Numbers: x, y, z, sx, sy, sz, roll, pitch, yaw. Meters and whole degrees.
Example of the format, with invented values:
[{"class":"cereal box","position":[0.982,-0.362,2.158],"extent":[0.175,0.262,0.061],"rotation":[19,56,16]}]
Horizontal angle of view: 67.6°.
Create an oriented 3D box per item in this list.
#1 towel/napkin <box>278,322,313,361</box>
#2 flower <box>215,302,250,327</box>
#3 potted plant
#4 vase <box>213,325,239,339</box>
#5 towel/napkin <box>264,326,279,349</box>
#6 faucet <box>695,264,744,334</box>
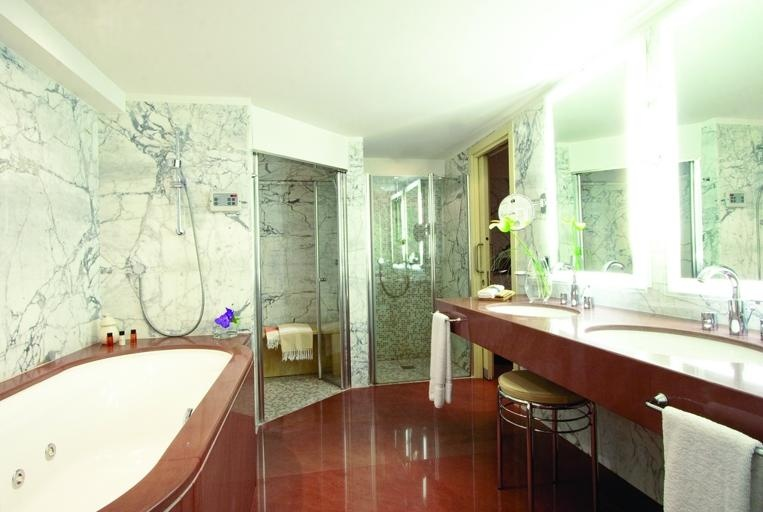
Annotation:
[{"class":"towel/napkin","position":[-0.843,0.848,5.668],"extent":[0.339,0.349,0.120],"rotation":[-1,-3,-11]},{"class":"flower","position":[-1.177,0.474,4.463],"extent":[0.129,0.082,0.191],"rotation":[25,-32,-32]},{"class":"potted plant","position":[1.117,0.007,4.328],"extent":[0.405,0.551,0.568],"rotation":[-5,13,-15]},{"class":"vase","position":[-1.222,0.604,4.499],"extent":[0.115,0.073,0.116],"rotation":[0,1,-1]},{"class":"towel/napkin","position":[-1.088,0.836,5.720],"extent":[0.141,0.212,0.257],"rotation":[-3,12,-11]},{"class":"faucet","position":[1.858,0.235,3.112],"extent":[0.255,0.367,0.157],"rotation":[5,14,27]}]
